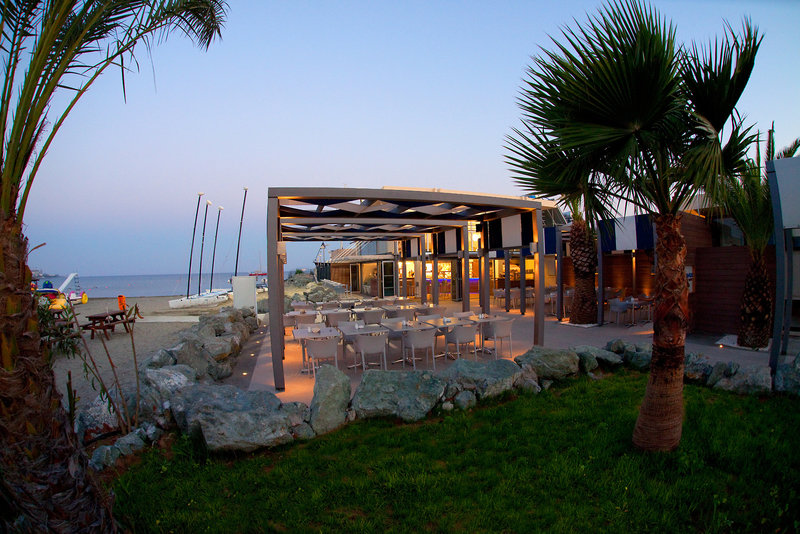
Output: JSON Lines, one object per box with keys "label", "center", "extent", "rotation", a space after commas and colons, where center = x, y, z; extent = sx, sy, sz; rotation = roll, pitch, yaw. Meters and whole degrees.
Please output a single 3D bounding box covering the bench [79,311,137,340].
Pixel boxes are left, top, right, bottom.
{"label": "bench", "center": [-8.291, 1.679, 14.095], "extent": [1.081, 0.631, 1.239], "rotation": [6, 7, 12]}
